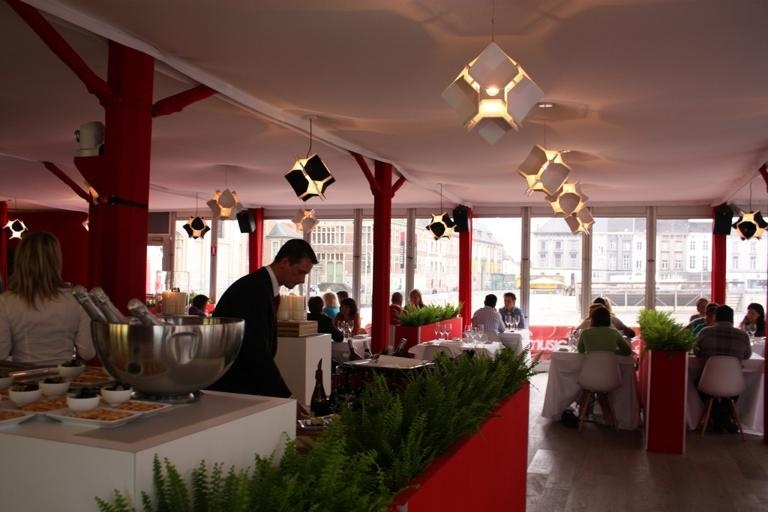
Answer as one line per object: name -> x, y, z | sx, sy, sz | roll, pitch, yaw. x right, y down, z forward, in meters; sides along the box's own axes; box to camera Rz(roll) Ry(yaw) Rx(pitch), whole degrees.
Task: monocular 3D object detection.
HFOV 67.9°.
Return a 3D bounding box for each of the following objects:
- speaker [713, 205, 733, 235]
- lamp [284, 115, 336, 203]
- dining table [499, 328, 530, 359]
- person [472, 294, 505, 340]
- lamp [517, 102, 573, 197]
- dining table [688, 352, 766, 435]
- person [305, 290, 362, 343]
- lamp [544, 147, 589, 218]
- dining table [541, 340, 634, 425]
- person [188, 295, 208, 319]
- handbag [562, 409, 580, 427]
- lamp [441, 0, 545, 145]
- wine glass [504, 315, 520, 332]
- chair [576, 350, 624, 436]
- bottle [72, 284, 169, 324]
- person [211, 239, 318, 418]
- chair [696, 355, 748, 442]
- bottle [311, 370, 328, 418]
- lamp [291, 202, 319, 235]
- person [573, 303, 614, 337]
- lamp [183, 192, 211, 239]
speaker -> 6.349, -0.706, 10.714 | 0.331, 0.599, 0.421 | 1, 1, 29
lamp -> -0.879, -1.197, 6.846 | 0.579, 1.112, 0.583 | -1, -14, -2
dining table -> 2.141, 1.432, 9.333 | 0.481, 0.415, 2.344 | 1, 1, 14
person -> 1.713, 0.982, 9.379 | 0.562, 0.820, 0.492 | 5, 17, 6
lamp -> 1.777, -1.144, 6.300 | 0.554, 1.057, 0.549 | 5, -28, 8
dining table -> 4.334, 1.752, 7.404 | 0.992, 0.742, 0.995 | -1, -11, 17
person -> -0.599, 0.851, 7.725 | 0.855, 0.513, 0.514 | 6, -12, -23
lamp -> 2.285, -0.958, 7.111 | 0.407, 0.377, 0.785 | 8, 30, 8
dining table -> 2.680, 1.614, 7.593 | 0.963, 0.725, 0.953 | 1, 0, 10
person -> -3.088, 0.813, 9.507 | 0.279, 0.344, 0.889 | 0, 1, -19
handbag -> 2.313, 2.012, 7.124 | 0.200, 0.198, 0.187 | -2, 0, 2
lamp -> 0.757, -1.287, 3.851 | 0.543, 0.966, 0.466 | 0, 1, -28
wine glass -> 2.231, 1.175, 9.907 | 0.255, 0.282, 0.268 | -1, -6, 6
chair -> 2.660, 1.637, 7.090 | 0.488, 0.967, 0.673 | 1, 1, 20
bottle -> -0.879, 0.162, 1.886 | 0.229, 0.129, 0.253 | 0, 1, -39
person -> -0.635, 0.319, 3.008 | 0.561, 0.834, 0.782 | 1, 1, -6
chair -> 4.016, 1.658, 6.842 | 0.514, 0.969, 0.568 | 1, 1, 15
bottle -> -0.331, 0.702, 2.973 | 0.092, 0.242, 0.422 | 1, 1, -7
lamp -> -1.439, -0.670, 10.593 | 0.384, 0.402, 0.448 | 1, 1, -2
person -> 2.926, 0.816, 7.946 | 0.437, 0.358, 1.177 | 2, -17, 11
lamp -> -3.714, -0.749, 11.426 | 0.519, 0.677, 0.446 | 3, 11, 8
